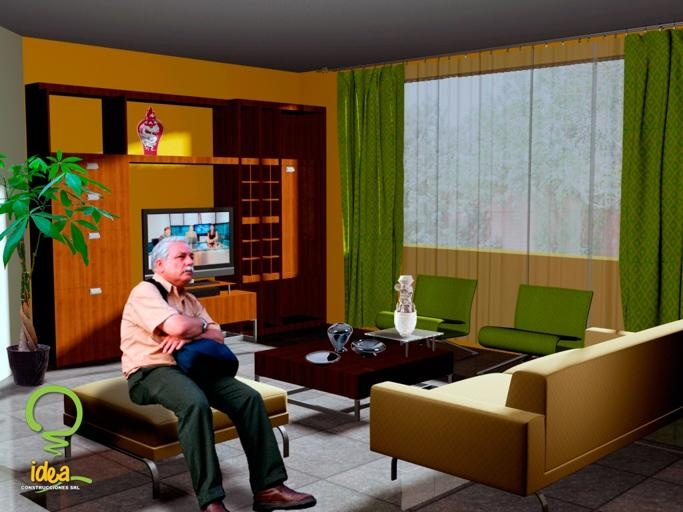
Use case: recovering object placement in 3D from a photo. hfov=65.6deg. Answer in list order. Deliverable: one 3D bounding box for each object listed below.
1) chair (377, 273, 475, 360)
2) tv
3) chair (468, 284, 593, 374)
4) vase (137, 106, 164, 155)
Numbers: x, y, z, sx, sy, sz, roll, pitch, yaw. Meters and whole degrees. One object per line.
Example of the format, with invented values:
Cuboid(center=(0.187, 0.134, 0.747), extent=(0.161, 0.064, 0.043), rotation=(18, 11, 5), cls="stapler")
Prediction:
Cuboid(center=(0.886, 0.551, 5.883), extent=(0.886, 0.622, 1.025), rotation=(2, 1, -24), cls="chair")
Cuboid(center=(-1.585, -0.136, 5.444), extent=(1.046, 0.734, 0.112), rotation=(-2, 3, -43), cls="tv")
Cuboid(center=(1.901, 0.763, 5.205), extent=(0.925, 0.726, 0.818), rotation=(-2, 3, 35), cls="chair")
Cuboid(center=(-2.292, -1.507, 6.357), extent=(0.285, 0.631, 0.567), rotation=(-4, 7, -20), cls="vase")
